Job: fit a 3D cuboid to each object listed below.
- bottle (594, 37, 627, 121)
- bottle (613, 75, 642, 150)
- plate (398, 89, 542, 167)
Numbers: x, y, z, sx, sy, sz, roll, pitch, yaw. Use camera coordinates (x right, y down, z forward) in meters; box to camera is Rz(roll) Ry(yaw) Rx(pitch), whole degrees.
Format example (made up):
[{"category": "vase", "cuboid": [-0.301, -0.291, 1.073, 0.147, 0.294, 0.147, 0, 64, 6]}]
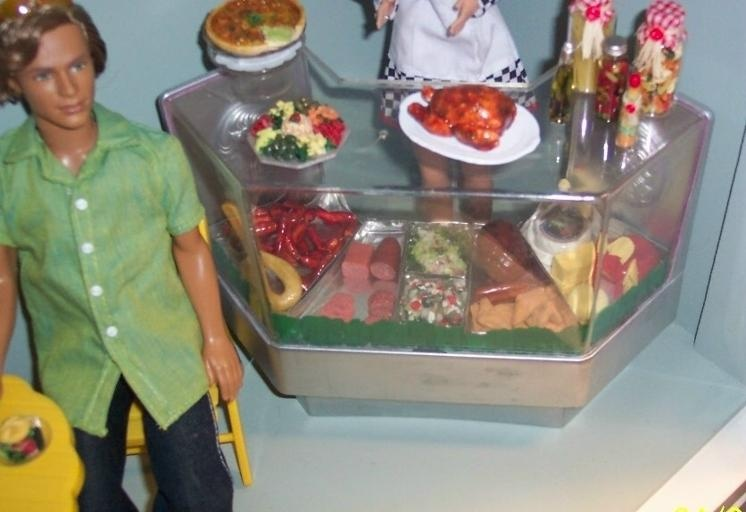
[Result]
[{"category": "bottle", "cuboid": [0.768, -0.554, 2.104, 0.096, 0.250, 0.102, -7, 28, 4]}, {"category": "bottle", "cuboid": [0.793, -0.435, 2.037, 0.068, 0.250, 0.068, 2, 9, 0]}, {"category": "plate", "cuboid": [0.302, -0.397, 2.100, 0.458, 0.130, 0.292, 5, 30, 11]}]
